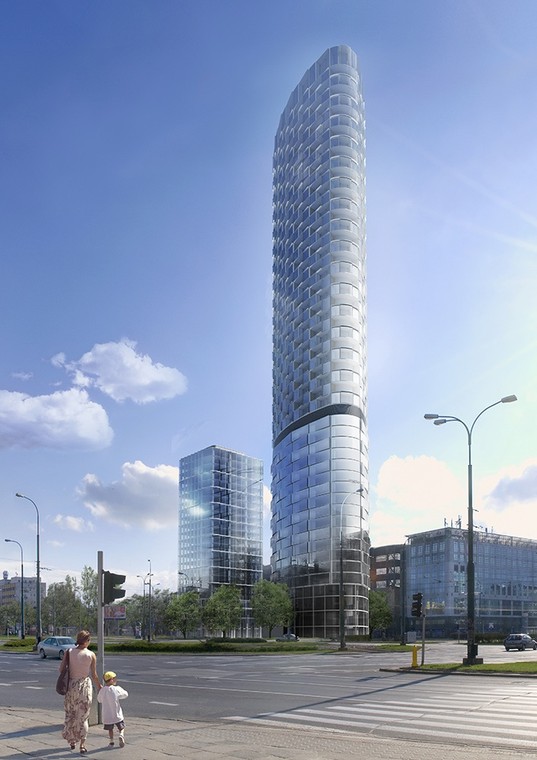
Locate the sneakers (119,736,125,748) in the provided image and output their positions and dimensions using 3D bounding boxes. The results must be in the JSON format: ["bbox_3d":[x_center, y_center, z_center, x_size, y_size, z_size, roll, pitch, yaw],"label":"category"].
[{"bbox_3d":[-2.325,5.740,15.429,0.072,0.248,0.091,-3,1,-2],"label":"sneakers"}]

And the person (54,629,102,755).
[{"bbox_3d":[-3.064,4.961,15.614,0.644,1.801,1.008,1,-12,-11],"label":"person"}]

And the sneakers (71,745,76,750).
[{"bbox_3d":[-3.050,5.722,15.203,0.069,0.096,0.122,2,-13,-13],"label":"sneakers"}]

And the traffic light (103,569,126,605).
[{"bbox_3d":[-2.927,3.900,18.381,0.377,0.578,1.202,1,-14,-10],"label":"traffic light"}]
